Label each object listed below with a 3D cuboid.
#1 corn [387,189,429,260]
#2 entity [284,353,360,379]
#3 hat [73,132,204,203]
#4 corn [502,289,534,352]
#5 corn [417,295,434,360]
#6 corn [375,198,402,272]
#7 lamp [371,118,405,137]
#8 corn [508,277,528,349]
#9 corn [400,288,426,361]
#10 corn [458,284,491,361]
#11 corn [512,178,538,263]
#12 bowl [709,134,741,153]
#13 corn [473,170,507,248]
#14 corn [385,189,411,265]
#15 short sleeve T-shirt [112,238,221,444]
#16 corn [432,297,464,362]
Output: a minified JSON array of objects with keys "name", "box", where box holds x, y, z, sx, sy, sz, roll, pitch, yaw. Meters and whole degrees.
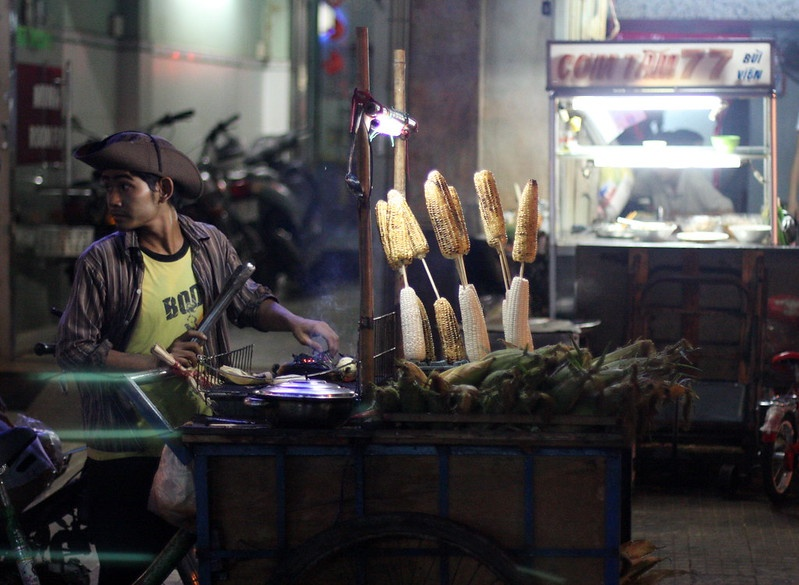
[{"name":"corn","box":[0.050,-0.374,6.438,0.161,0.509,0.159,-13,-13,-28]},{"name":"entity","box":[-0.461,0.430,6.248,0.300,0.128,0.193,-1,-2,6]},{"name":"hat","box":[-1.529,-0.702,6.422,0.555,0.237,0.391,20,0,-32]},{"name":"corn","box":[0.714,0.132,6.622,0.124,0.490,0.125,-1,7,-12]},{"name":"corn","box":[0.151,0.213,6.623,0.086,0.377,0.094,1,-19,-25]},{"name":"corn","box":[-0.078,-0.344,6.462,0.131,0.425,0.122,-11,-4,-16]},{"name":"lamp","box":[-0.065,-0.932,6.183,0.144,0.091,0.299,2,8,13]},{"name":"corn","box":[0.718,0.129,6.609,0.114,0.459,0.120,0,6,-2]},{"name":"corn","box":[0.070,0.200,6.504,0.127,0.467,0.129,-5,-1,7]},{"name":"corn","box":[0.434,0.175,6.520,0.130,0.517,0.147,-8,-4,-11]},{"name":"corn","box":[0.756,-0.430,6.503,0.137,0.503,0.126,0,6,-19]},{"name":"bowl","box":[2.804,-1.276,9.372,0.172,0.116,0.181,-1,0,0]},{"name":"corn","box":[0.540,-0.549,6.472,0.144,0.523,0.154,-11,-6,-2]},{"name":"corn","box":[-0.013,-0.372,6.392,0.133,0.440,0.126,-8,-4,15]},{"name":"short sleeve T-shirt","box":[-1.380,0.293,6.496,0.235,1.032,0.574,-9,-6,14]},{"name":"corn","box":[0.291,0.241,6.604,0.120,0.443,0.123,-9,1,6]}]
